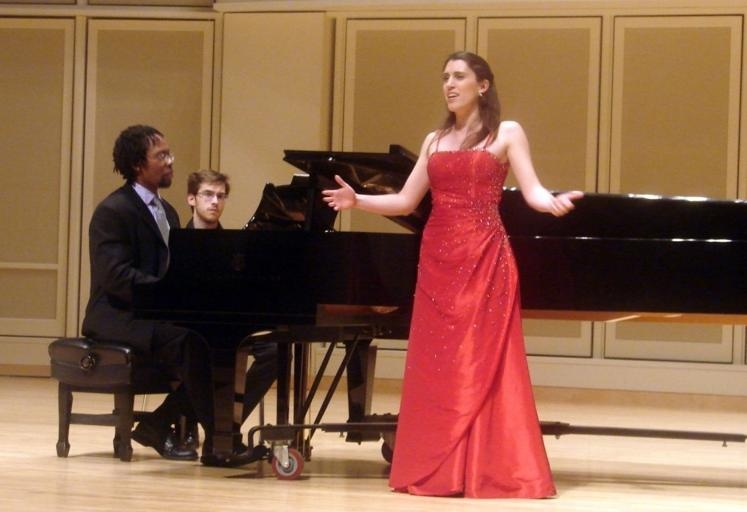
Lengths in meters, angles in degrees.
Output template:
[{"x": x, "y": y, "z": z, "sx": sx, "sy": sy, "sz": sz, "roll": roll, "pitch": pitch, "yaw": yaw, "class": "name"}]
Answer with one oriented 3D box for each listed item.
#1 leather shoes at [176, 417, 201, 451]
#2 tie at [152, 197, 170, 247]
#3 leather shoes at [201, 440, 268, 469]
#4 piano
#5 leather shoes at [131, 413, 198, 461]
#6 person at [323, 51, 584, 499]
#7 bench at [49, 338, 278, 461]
[{"x": -1.244, "y": 1.183, "z": 7.199, "sx": 0.201, "sy": 0.210, "sz": 0.202, "roll": 0, "pitch": -5, "yaw": 7, "class": "leather shoes"}, {"x": -1.428, "y": -0.217, "z": 7.194, "sx": 0.070, "sy": 0.328, "sz": 0.088, "roll": -12, "pitch": 11, "yaw": -3, "class": "tie"}, {"x": -0.886, "y": 1.265, "z": 6.830, "sx": 0.324, "sy": 0.113, "sz": 0.196, "roll": 1, "pitch": -4, "yaw": -7, "class": "leather shoes"}, {"x": 0.573, "y": 0.372, "z": 7.467, "sx": 3.670, "sy": 1.841, "sz": 1.924, "roll": 2, "pitch": -3, "yaw": 4, "class": "piano"}, {"x": -1.350, "y": 1.204, "z": 7.113, "sx": 0.605, "sy": 0.271, "sz": 0.205, "roll": 11, "pitch": 0, "yaw": 1, "class": "leather shoes"}, {"x": 0.583, "y": 0.101, "z": 6.490, "sx": 1.141, "sy": 2.631, "sz": 0.595, "roll": 2, "pitch": 8, "yaw": 10, "class": "person"}, {"x": -1.730, "y": 0.973, "z": 7.440, "sx": 0.746, "sy": 0.697, "sz": 0.978, "roll": -1, "pitch": -8, "yaw": 15, "class": "bench"}]
